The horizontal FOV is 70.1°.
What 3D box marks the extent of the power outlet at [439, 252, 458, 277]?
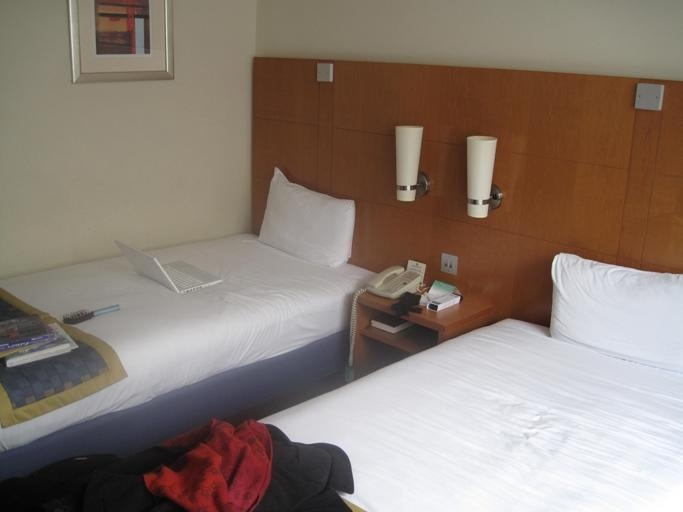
[{"bbox_3d":[0.695,0.050,3.127,0.115,0.142,0.014,22,35,40],"label":"power outlet"}]
